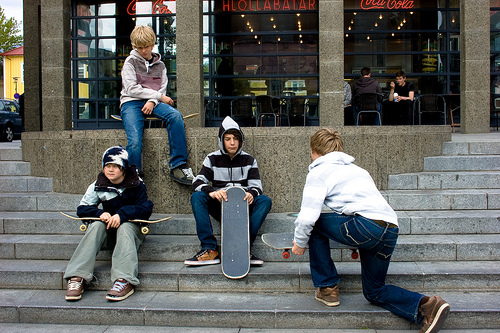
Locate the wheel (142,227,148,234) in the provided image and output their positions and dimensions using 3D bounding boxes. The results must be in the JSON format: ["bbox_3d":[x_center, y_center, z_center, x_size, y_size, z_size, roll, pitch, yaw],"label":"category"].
[{"bbox_3d":[-2.001,1.216,15.534,0.104,0.142,0.199,-1,5,-3],"label":"wheel"}]

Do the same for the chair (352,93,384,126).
[{"bbox_3d":[2.954,-1.459,20.478,0.821,0.751,1.077,-2,-27,12],"label":"chair"}]

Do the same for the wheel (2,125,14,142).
[{"bbox_3d":[-8.163,-1.111,27.486,0.191,0.515,0.561,9,20,24],"label":"wheel"}]

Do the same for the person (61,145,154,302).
[{"bbox_3d":[-2.621,1.064,15.358,1.558,2.815,0.840,-1,5,-7],"label":"person"}]

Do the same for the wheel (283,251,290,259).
[{"bbox_3d":[0.668,1.627,15.105,0.108,0.153,0.197,0,5,4],"label":"wheel"}]

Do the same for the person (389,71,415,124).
[{"bbox_3d":[3.876,-1.764,20.904,0.596,1.330,0.669,0,5,12],"label":"person"}]

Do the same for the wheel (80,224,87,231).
[{"bbox_3d":[-3.136,1.151,15.370,0.129,0.112,0.042,1,-17,1],"label":"wheel"}]
